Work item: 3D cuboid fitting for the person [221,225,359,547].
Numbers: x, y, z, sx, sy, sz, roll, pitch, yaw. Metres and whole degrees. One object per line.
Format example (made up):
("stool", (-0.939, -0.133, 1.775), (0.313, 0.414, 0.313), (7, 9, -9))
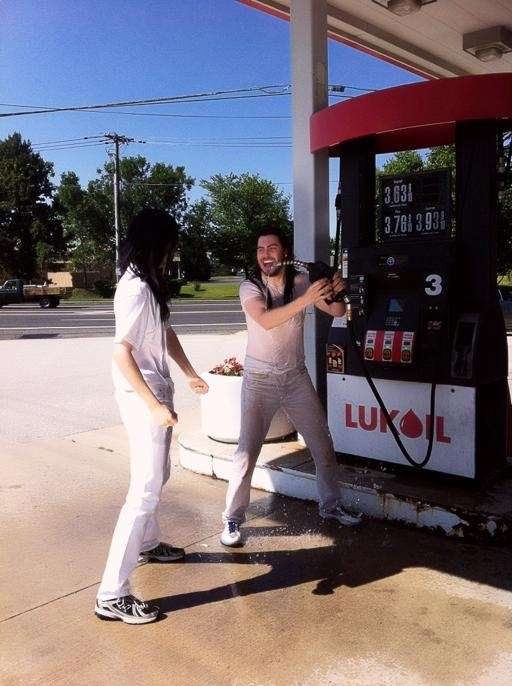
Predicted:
("person", (0.198, 0.251, 3.016), (0.658, 1.651, 0.744), (-5, 5, -42))

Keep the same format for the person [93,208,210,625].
("person", (-0.454, 0.274, 2.417), (0.473, 1.679, 0.714), (-1, 4, -5))

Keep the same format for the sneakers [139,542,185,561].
("sneakers", (-0.471, 1.031, 2.855), (0.216, 0.094, 0.090), (0, -5, -9))

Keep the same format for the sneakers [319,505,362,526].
("sneakers", (0.488, 0.983, 3.285), (0.261, 0.114, 0.097), (1, 6, 30))

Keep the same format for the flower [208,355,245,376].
("flower", (-0.227, 0.210, 4.746), (0.185, 0.114, 0.198), (-9, -5, 37))

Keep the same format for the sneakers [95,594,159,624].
("sneakers", (-0.514, 1.048, 2.289), (0.227, 0.112, 0.105), (2, 0, 1))
